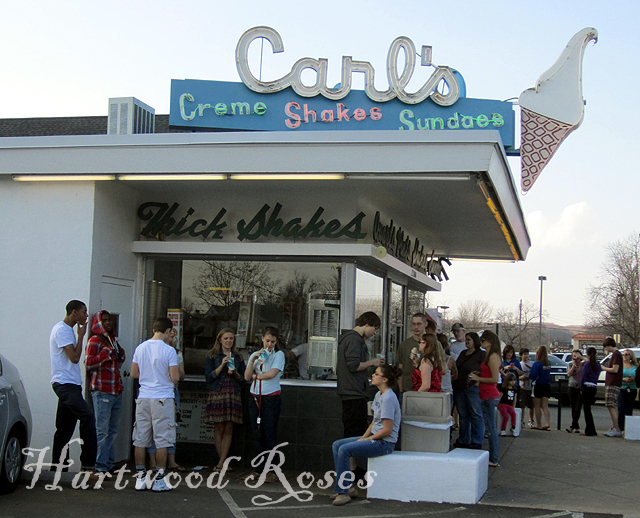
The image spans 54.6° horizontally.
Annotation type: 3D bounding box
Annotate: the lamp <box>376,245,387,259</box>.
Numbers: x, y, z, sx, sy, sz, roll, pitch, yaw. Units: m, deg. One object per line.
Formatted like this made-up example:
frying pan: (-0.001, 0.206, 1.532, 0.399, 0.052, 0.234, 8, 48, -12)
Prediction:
lamp: (0.987, -0.113, 9.852, 0.120, 0.205, 0.358, -3, -10, 18)

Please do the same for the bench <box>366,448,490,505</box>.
bench: (1.303, 2.598, 7.486, 1.426, 0.522, 0.529, -1, -10, 8)

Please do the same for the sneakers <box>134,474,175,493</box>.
sneakers: (-2.035, 2.693, 7.594, 0.510, 0.263, 0.201, 1, -4, 2)

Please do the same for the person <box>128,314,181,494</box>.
person: (-2.039, 1.769, 7.689, 0.596, 2.097, 0.386, 1, -10, -3)

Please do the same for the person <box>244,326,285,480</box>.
person: (-0.757, 1.818, 8.567, 0.515, 1.743, 0.471, 0, -10, 4)

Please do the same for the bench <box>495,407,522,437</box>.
bench: (4.212, 3.656, 13.844, 0.582, 0.671, 0.626, 0, -1, 17)

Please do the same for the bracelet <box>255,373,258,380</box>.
bracelet: (-0.855, 1.598, 8.449, 0.012, 0.060, 0.055, -1, 1, -23)

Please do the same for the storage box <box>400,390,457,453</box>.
storage box: (1.417, 2.044, 7.975, 0.652, 0.784, 0.603, 0, -5, 13)

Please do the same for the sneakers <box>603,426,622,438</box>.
sneakers: (6.615, 3.909, 13.993, 0.378, 0.202, 0.148, 3, -3, -5)

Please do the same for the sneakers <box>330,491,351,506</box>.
sneakers: (0.257, 2.752, 7.144, 0.092, 0.112, 0.265, -8, -16, 21)

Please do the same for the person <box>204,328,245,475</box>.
person: (-1.358, 1.994, 8.894, 0.543, 1.972, 0.441, 2, -10, -8)

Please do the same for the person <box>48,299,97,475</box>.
person: (-3.165, 1.639, 8.051, 0.630, 2.178, 0.925, 4, -10, -20)

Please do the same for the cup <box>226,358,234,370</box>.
cup: (-1.258, 1.486, 8.779, 0.076, 0.222, 0.067, -10, -17, 21)
